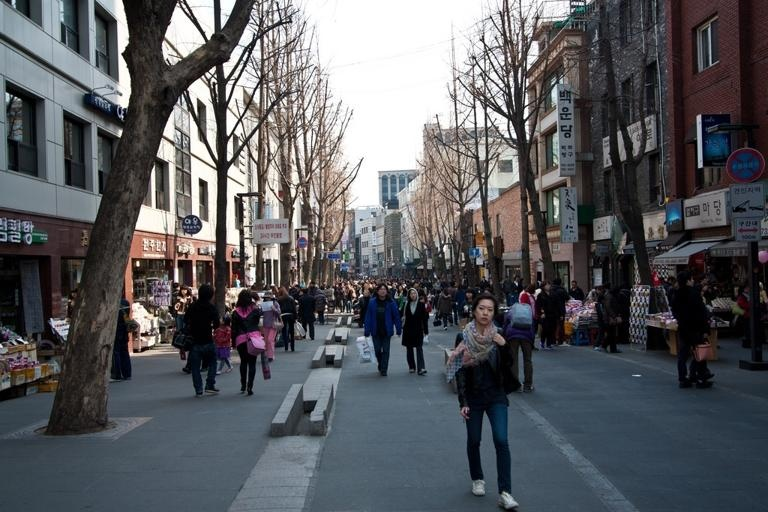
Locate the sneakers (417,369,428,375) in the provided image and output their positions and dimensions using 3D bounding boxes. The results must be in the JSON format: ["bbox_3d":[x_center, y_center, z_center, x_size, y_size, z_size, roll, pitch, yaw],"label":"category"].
[{"bbox_3d":[1.003,3.030,17.116,0.092,0.118,0.252,-1,-9,-16],"label":"sneakers"}]

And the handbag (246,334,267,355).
[{"bbox_3d":[-2.829,1.975,14.769,0.317,0.524,0.456,-7,-7,32],"label":"handbag"}]

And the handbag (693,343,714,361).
[{"bbox_3d":[6.951,2.092,14.296,0.368,0.417,0.217,-1,18,5],"label":"handbag"}]

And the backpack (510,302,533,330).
[{"bbox_3d":[2.933,1.301,13.983,0.395,0.322,0.576,7,31,3],"label":"backpack"}]

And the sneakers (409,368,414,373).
[{"bbox_3d":[0.771,3.093,17.611,0.153,0.125,0.056,2,-3,-2],"label":"sneakers"}]

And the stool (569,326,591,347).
[{"bbox_3d":[6.917,2.826,23.087,0.569,0.644,0.612,1,-3,-16],"label":"stool"}]

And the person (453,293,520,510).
[{"bbox_3d":[1.384,1.929,8.830,0.822,2.827,0.410,-5,-5,17],"label":"person"}]

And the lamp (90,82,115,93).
[{"bbox_3d":[-9.568,-5.717,22.272,0.351,0.132,0.701,-2,-1,3],"label":"lamp"}]

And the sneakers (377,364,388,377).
[{"bbox_3d":[-0.017,2.995,17.195,0.198,0.307,0.674,0,-8,-2],"label":"sneakers"}]

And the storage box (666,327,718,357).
[{"bbox_3d":[7.428,2.067,15.759,1.043,0.871,0.625,-1,-4,3],"label":"storage box"}]

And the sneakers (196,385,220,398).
[{"bbox_3d":[-3.914,3.030,14.666,0.486,0.254,0.184,-3,3,-22],"label":"sneakers"}]

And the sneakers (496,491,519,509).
[{"bbox_3d":[1.623,3.191,8.520,0.115,0.161,0.345,0,-12,-8],"label":"sneakers"}]

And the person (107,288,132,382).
[{"bbox_3d":[-6.775,2.141,16.917,0.476,2.112,1.006,-1,-6,-24],"label":"person"}]
